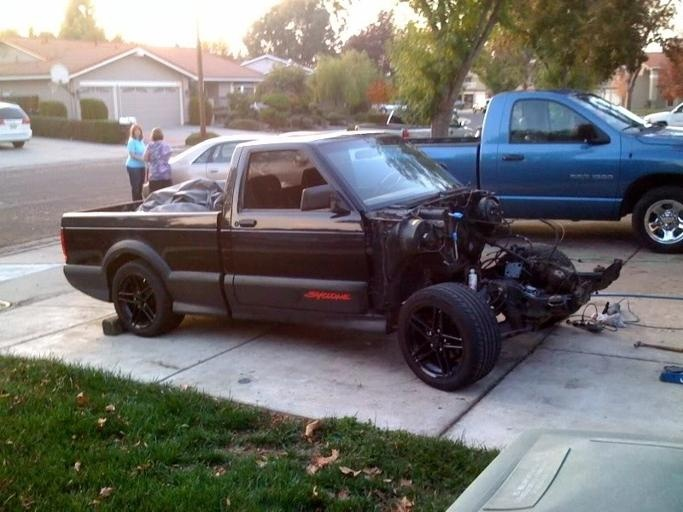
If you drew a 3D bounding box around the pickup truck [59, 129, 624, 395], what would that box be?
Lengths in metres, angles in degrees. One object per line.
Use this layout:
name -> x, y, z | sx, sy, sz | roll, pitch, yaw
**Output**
pickup truck -> -0.529, -0.137, 6.073 | 5.390, 2.086, 2.867 | 4, 15, 23
